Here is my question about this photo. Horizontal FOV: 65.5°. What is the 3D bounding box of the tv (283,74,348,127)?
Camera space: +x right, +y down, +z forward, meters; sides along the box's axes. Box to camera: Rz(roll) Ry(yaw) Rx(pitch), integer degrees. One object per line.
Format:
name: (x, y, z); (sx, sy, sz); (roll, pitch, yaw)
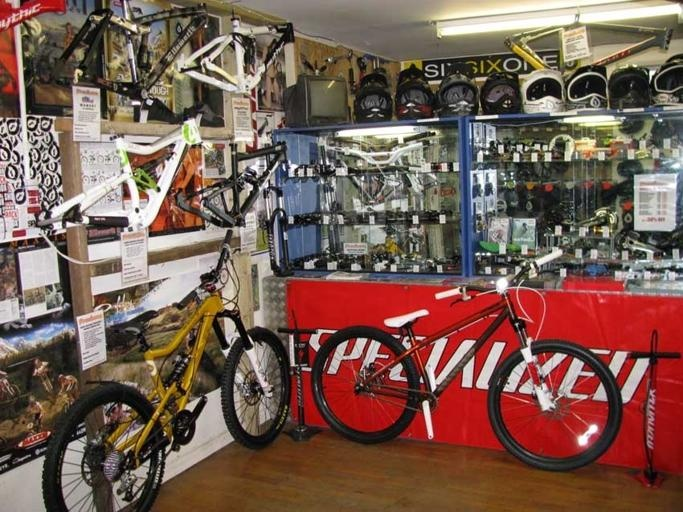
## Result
tv: (-0.243, -1.485, 5.192); (0.559, 0.501, 0.563); (-7, 10, -25)

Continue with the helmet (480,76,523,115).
helmet: (1.407, -1.436, 4.690); (0.262, 0.416, 0.337); (1, 41, 2)

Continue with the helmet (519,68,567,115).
helmet: (1.734, -1.416, 4.590); (0.291, 0.453, 0.381); (-2, 17, 13)

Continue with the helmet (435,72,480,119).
helmet: (1.089, -1.452, 4.874); (0.365, 0.479, 0.512); (9, 2, 1)

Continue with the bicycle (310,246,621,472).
bicycle: (1.107, 0.723, 4.606); (2.013, 1.510, 1.360); (0, 1, 24)

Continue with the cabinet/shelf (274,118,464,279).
cabinet/shelf: (0.323, -0.656, 5.232); (1.721, 1.485, 0.689); (1, 26, 6)

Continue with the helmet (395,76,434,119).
helmet: (0.661, -1.402, 4.782); (0.257, 0.345, 0.380); (-2, 2, 9)

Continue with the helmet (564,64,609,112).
helmet: (2.070, -1.413, 4.514); (0.264, 0.440, 0.316); (-2, -6, 16)

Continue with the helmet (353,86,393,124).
helmet: (0.319, -1.449, 5.075); (0.295, 0.362, 0.422); (-4, 14, 11)
